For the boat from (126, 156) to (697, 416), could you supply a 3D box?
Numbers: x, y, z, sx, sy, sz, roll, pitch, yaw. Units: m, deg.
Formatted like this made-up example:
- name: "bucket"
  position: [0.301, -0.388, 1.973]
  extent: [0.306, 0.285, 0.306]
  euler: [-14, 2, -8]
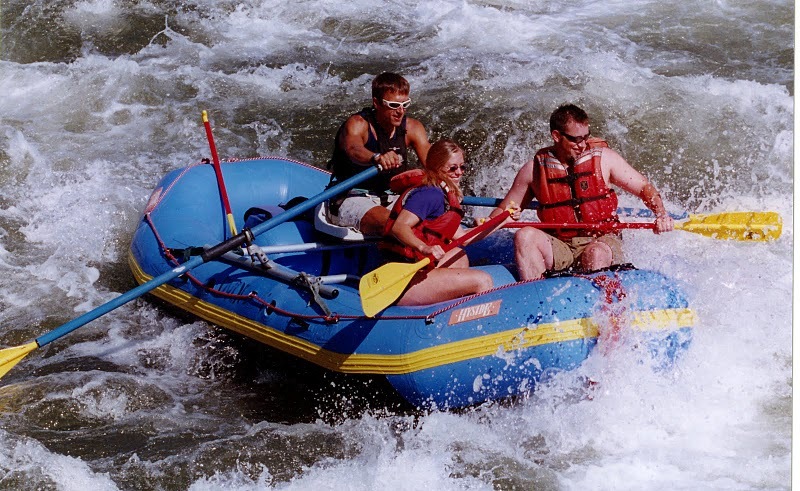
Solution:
- name: "boat"
  position: [-0.461, 0.460, 8.708]
  extent: [4.004, 0.814, 2.373]
  euler: [18, 37, 30]

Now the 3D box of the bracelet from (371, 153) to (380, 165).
- name: "bracelet"
  position: [-0.218, -0.789, 8.662]
  extent: [0.030, 0.089, 0.088]
  euler: [17, 72, -40]

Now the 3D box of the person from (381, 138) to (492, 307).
- name: "person"
  position: [0.427, -0.235, 8.570]
  extent: [1.067, 0.960, 1.296]
  euler: [14, 105, 31]

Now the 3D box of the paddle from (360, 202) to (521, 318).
- name: "paddle"
  position: [0.192, 0.121, 8.554]
  extent: [1.400, 0.462, 0.345]
  euler: [-36, 84, -6]

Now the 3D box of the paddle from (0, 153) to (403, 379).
- name: "paddle"
  position: [-1.842, 0.270, 9.178]
  extent: [3.519, 0.530, 0.542]
  euler: [-27, 58, -6]
